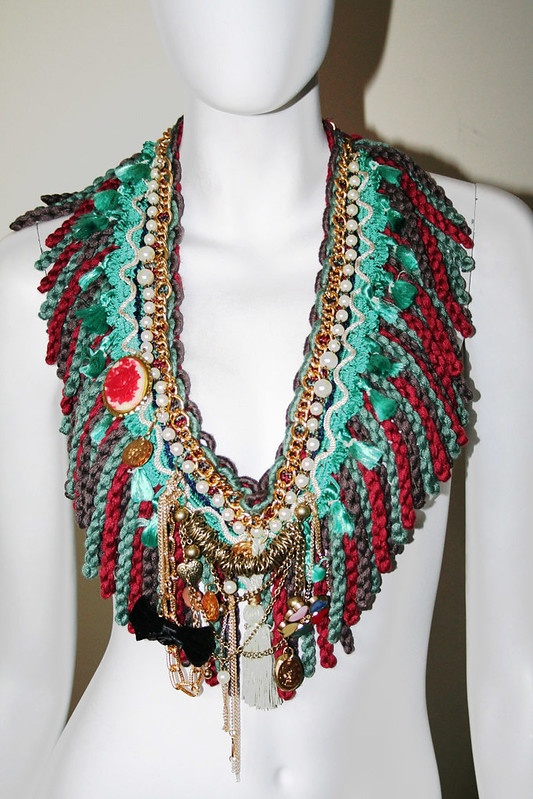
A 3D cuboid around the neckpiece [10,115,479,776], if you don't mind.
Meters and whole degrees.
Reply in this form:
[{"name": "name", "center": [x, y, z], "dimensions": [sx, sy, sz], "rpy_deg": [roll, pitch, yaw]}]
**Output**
[{"name": "neckpiece", "center": [-0.009, 0.033, 1.160], "dimensions": [0.653, 0.631, 0.187], "rpy_deg": [1, -12, 3]}]
